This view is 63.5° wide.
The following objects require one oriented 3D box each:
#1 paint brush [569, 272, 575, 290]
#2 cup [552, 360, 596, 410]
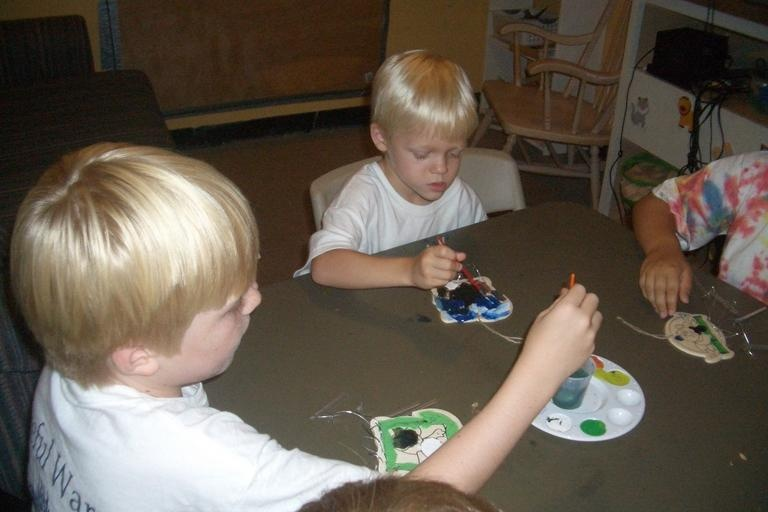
[{"bbox_3d":[0.444,0.060,1.469,0.009,0.035,0.007,24,-7,-7],"label":"paint brush"},{"bbox_3d":[0.408,0.283,1.369,0.084,0.093,0.088,0,22,0],"label":"cup"}]
